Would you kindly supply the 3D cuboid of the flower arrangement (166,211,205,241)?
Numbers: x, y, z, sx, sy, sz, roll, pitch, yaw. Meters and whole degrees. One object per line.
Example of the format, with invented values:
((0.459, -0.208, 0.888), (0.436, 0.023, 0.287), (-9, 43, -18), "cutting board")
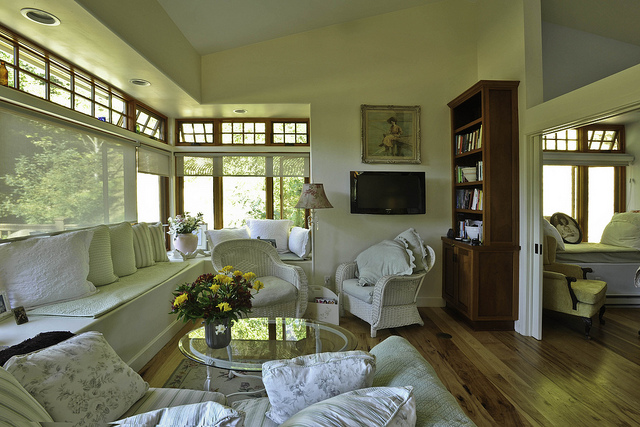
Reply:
((-1.992, 0.196, 6.308), (0.400, 0.218, 0.421), (-5, -2, 12), "flower arrangement")

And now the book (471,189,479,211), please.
((2.002, -0.161, 5.585), (0.047, 0.319, 0.251), (6, -7, 9), "book")

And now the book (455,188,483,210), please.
((1.974, -0.193, 5.736), (0.059, 0.246, 0.245), (5, -1, -40), "book")

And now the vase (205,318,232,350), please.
((-0.930, 1.100, 3.943), (0.270, 0.270, 0.257), (5, -8, -39), "vase")

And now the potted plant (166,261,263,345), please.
((-0.936, 0.915, 4.008), (0.686, 0.606, 0.826), (-6, -3, -1), "potted plant")

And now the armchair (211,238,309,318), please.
((-0.804, 0.908, 5.466), (1.016, 1.132, 1.109), (-3, 2, -27), "armchair")

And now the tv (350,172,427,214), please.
((0.947, -0.283, 6.068), (1.073, 0.609, 0.078), (0, -3, -7), "tv")

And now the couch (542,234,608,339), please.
((3.193, 0.891, 5.695), (1.044, 1.074, 1.035), (1, 5, 7), "couch")

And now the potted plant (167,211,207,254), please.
((-1.891, 0.304, 6.339), (0.599, 0.585, 0.541), (2, -5, -13), "potted plant")

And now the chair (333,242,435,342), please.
((0.782, 0.990, 5.709), (1.163, 0.983, 1.128), (2, -4, -20), "chair")

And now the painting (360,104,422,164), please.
((0.986, -1.146, 6.108), (0.856, 0.817, 0.094), (1, 0, -2), "painting")

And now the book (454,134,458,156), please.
((1.886, -0.949, 6.005), (0.048, 0.282, 0.103), (1, 14, 6), "book")

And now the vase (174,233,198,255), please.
((-1.915, 0.456, 6.172), (0.288, 0.276, 0.291), (2, -2, -34), "vase")
